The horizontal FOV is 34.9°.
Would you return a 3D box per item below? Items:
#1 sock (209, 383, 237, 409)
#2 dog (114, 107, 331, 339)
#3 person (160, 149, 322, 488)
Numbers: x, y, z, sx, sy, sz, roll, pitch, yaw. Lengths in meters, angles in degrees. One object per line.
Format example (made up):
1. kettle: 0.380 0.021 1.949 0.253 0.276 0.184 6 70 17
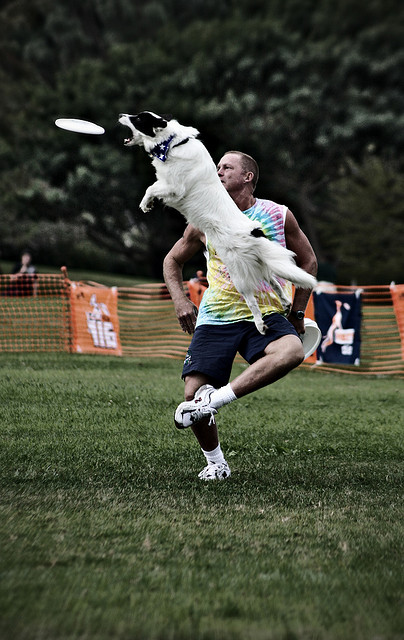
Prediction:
1. sock: 0.091 0.386 3.216 0.186 0.062 0.082 -30 0 -26
2. dog: 0.092 -0.507 3.490 1.057 1.113 0.820 2 0 6
3. person: 0.173 -0.057 3.607 0.923 1.848 0.695 -6 -14 27
